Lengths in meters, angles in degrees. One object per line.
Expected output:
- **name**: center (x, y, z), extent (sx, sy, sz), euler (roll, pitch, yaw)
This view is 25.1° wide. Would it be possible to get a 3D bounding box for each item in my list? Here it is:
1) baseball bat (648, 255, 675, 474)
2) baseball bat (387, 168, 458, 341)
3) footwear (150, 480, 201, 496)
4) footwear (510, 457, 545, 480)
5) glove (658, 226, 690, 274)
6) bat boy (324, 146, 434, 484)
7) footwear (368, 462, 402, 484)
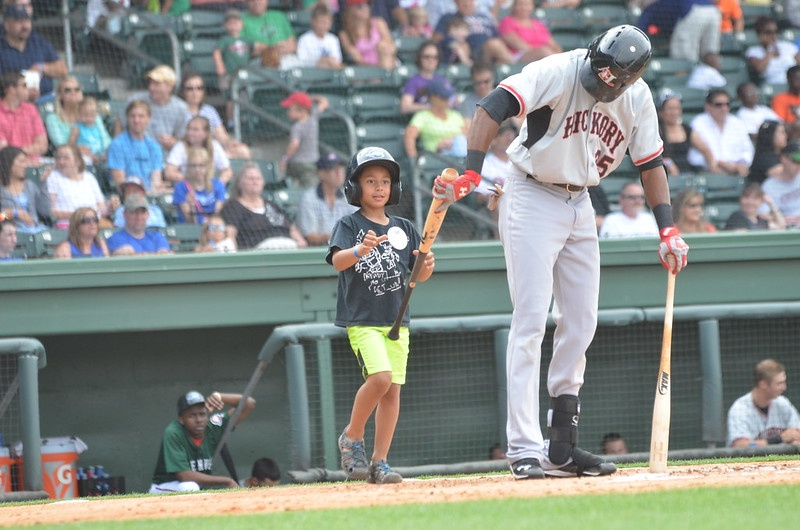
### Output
- **baseball bat**: center (2.011, 0.812, 13.816), extent (0.202, 1.773, 0.189), euler (1, -2, 3)
- **baseball bat**: center (0.186, -0.079, 13.859), extent (0.145, 1.192, 0.147), euler (6, 26, -30)
- **footwear**: center (-1.916, 1.859, 15.138), extent (0.362, 0.101, 0.194), euler (-1, 5, 6)
- **footwear**: center (0.961, 1.532, 13.623), extent (0.246, 0.165, 0.138), euler (-3, -8, 3)
- **glove**: center (2.127, -0.116, 13.867), extent (0.273, 0.326, 0.234), euler (-12, 6, -7)
- **bat boy**: center (-0.203, 0.397, 14.280), extent (0.886, 2.532, 1.094), euler (0, -5, -2)
- **footwear**: center (-0.130, 1.599, 13.951), extent (0.122, 0.131, 0.294), euler (3, -8, -36)
